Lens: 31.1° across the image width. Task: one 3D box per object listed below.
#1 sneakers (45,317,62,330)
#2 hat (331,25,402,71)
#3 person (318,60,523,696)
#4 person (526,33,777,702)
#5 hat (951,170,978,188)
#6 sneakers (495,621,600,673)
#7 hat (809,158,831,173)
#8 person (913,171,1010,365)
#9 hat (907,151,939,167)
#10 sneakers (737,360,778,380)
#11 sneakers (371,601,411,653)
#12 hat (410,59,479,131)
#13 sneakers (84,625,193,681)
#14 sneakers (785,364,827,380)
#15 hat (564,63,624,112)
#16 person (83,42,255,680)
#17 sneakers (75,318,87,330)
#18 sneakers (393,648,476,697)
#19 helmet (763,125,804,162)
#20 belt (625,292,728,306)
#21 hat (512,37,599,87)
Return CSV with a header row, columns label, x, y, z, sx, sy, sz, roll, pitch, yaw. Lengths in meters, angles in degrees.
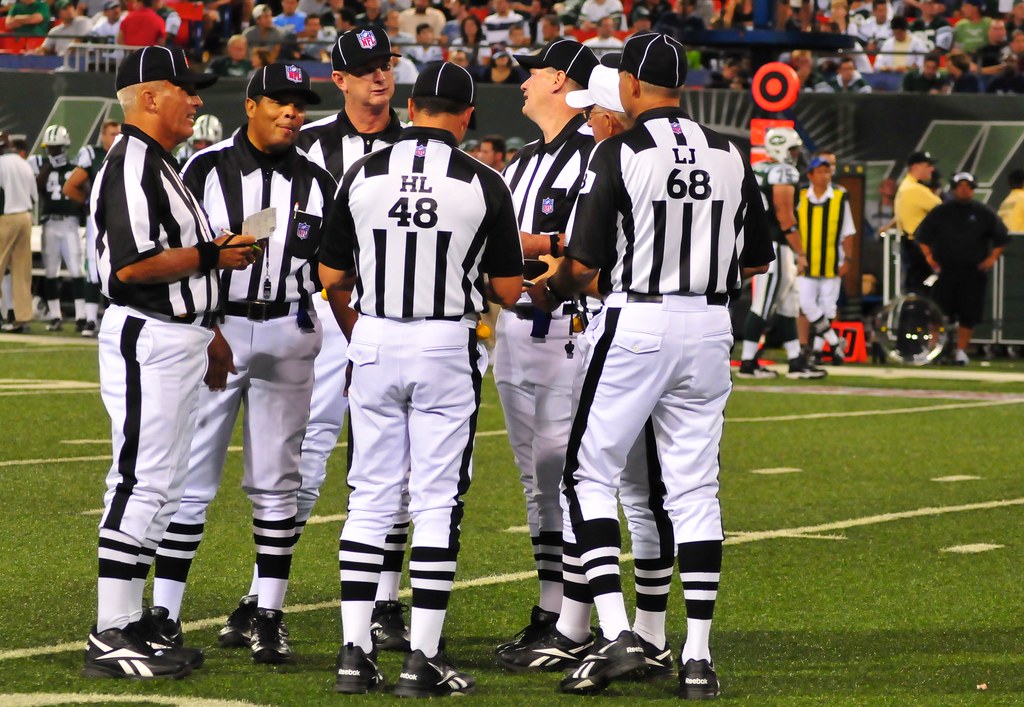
label,x,y,z,sx,sy,sz,roll,pitch,yaw
sneakers,-5.612,-0.352,22.659,0.218,0.155,0.121,6,8,24
hat,-0.902,-1.910,11.459,0.354,0.262,0.476,-14,12,-11
person,-0.541,0.128,10.677,1.107,3.590,0.700,0,5,-7
person,0.823,0.048,10.747,1.217,3.788,0.777,1,5,2
hat,5.335,-2.027,21.677,0.397,0.187,0.578,3,6,11
sneakers,0.215,1.768,11.091,0.550,0.261,0.242,0,0,-13
hat,3.370,-2.039,20.110,0.159,0.094,0.227,-1,2,-22
person,5.132,-0.909,21.044,0.994,2.100,0.408,2,5,9
hat,4.870,-2.237,21.681,0.290,0.154,0.210,-2,15,-10
sneakers,2.624,0.198,19.751,0.452,0.220,0.169,-1,3,-4
sneakers,-0.747,1.691,11.423,0.220,0.265,0.638,2,2,-16
hat,-0.371,-1.536,10.867,0.459,0.372,0.624,6,2,26
sneakers,-2.205,1.762,10.826,0.649,0.304,0.255,2,2,-3
sneakers,3.152,0.207,19.648,0.430,0.206,0.150,0,2,5
hat,0.512,-1.580,11.055,0.346,0.188,0.228,9,17,5
person,-2.062,0.036,10.810,0.847,3.641,0.647,0,5,-14
sneakers,-5.170,-0.337,22.256,0.120,0.139,0.136,3,-21,-1
sneakers,-0.438,1.835,10.575,0.424,0.202,0.188,0,2,-35
helmet,3.177,-2.382,21.117,0.457,0.475,0.378,-7,15,-5
belt,0.981,-0.315,10.707,0.616,0.072,0.094,0,6,-12
hat,0.340,-1.867,11.727,0.314,0.266,0.523,3,7,31
